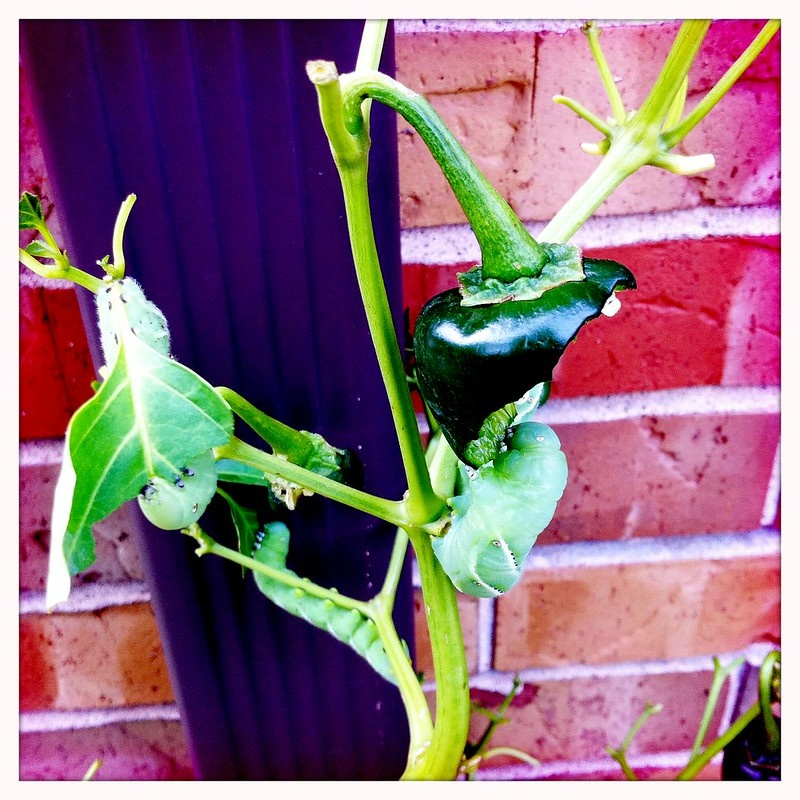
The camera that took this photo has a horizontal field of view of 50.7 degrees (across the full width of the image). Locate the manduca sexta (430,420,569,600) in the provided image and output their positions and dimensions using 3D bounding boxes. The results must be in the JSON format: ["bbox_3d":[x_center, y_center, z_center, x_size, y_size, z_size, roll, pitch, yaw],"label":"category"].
[{"bbox_3d":[0.038,0.040,0.377,0.037,0.071,0.029,19,22,-49],"label":"manduca sexta"}]

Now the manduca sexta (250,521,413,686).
[{"bbox_3d":[-0.041,0.114,0.495,0.125,0.030,0.030,45,40,10],"label":"manduca sexta"}]

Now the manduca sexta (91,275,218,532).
[{"bbox_3d":[-0.100,0.006,0.381,0.054,0.121,0.036,-14,14,-6],"label":"manduca sexta"}]

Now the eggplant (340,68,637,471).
[{"bbox_3d":[0.044,-0.065,0.351,0.096,0.168,0.100,-2,31,45],"label":"eggplant"}]
